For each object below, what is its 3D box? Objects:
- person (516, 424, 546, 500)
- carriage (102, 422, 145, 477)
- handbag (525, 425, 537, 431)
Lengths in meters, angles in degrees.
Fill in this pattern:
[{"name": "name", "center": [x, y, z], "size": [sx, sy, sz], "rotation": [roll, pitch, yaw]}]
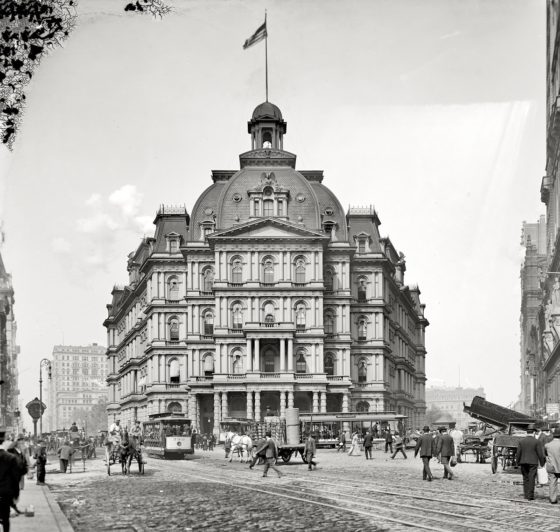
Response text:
[{"name": "person", "center": [7.138, 5.601, 37.264], "size": [0.775, 2.264, 1.185], "rotation": [-2, -15, 10]}, {"name": "carriage", "center": [-5.987, 7.165, 50.690], "size": [0.979, 1.941, 3.311], "rotation": [-1, -13, -10]}, {"name": "handbag", "center": [7.246, 4.714, 37.841], "size": [0.254, 0.138, 0.384], "rotation": [-2, -1, -7]}]
